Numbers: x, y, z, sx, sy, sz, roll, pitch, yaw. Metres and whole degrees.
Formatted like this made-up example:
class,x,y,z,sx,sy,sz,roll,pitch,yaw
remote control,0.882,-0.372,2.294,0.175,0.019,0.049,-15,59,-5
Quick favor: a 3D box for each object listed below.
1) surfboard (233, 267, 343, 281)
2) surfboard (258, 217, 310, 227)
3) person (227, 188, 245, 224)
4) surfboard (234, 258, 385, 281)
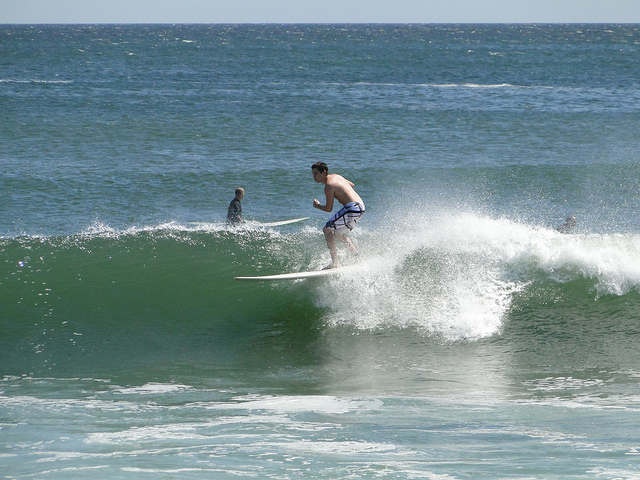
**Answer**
class,x,y,z,sx,sy,sz,roll,pitch,yaw
surfboard,-0.770,0.903,31.109,2.372,0.124,0.223,-5,-1,6
surfboard,-1.360,-0.565,35.543,2.637,0.273,0.208,-4,20,-45
person,-2.388,-1.003,33.858,0.503,0.834,0.503,4,1,-12
surfboard,-0.167,0.790,31.231,3.157,0.175,0.298,-7,-1,-2
